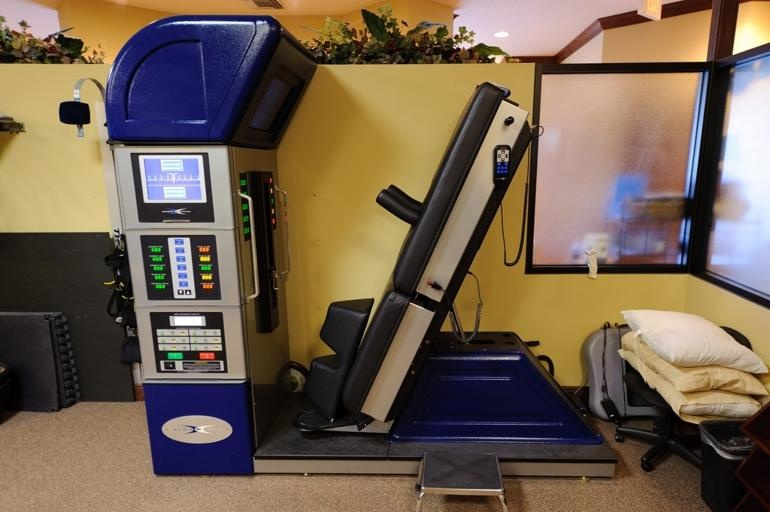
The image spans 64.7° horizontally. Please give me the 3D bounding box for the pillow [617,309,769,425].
[{"bbox_3d":[2.285,0.781,4.606,0.827,0.567,1.085,-6,15,4],"label":"pillow"}]
